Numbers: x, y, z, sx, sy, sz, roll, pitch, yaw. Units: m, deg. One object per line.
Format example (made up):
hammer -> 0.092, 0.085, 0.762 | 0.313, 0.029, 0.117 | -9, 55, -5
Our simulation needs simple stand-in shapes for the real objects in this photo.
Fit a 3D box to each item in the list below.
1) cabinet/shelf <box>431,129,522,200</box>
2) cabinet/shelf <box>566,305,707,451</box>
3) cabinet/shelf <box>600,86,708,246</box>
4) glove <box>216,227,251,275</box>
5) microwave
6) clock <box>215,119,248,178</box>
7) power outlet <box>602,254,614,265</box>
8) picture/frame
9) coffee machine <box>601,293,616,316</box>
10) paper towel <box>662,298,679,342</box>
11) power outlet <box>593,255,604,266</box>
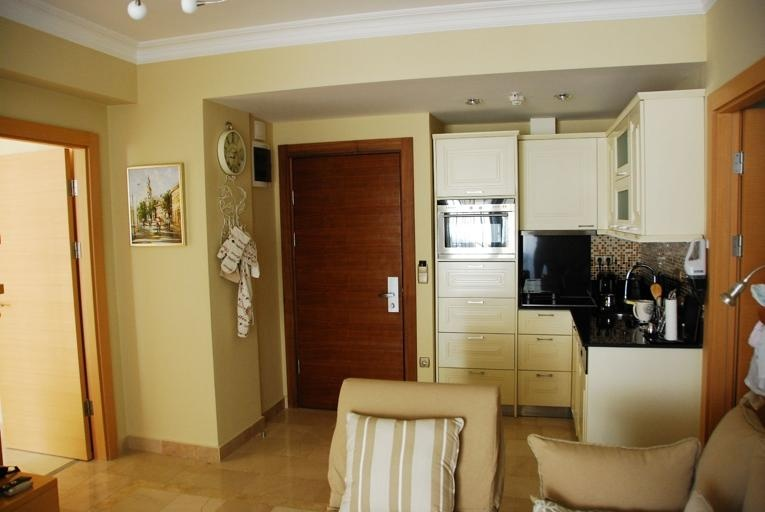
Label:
cabinet/shelf -> 0.949, -0.864, 5.541 | 0.994, 0.797, 0.587 | 0, 0, 10
cabinet/shelf -> 2.062, 0.691, 4.548 | 0.773, 1.003, 1.471 | 1, 1, 15
cabinet/shelf -> 2.143, -0.721, 4.322 | 0.475, 1.086, 1.291 | 0, 2, 16
glove -> -1.306, -0.045, 4.856 | 0.240, 0.396, 0.078 | 28, -15, -29
microwave -> 0.949, -0.229, 5.625 | 0.836, 0.633, 0.527 | 0, -2, 9
clock -> -1.374, -0.961, 4.988 | 0.100, 0.478, 0.335 | 3, 13, 15
power outlet -> 2.331, 0.039, 5.752 | 0.100, 0.100, 0.016 | 0, 13, 4
picture/frame -> -1.946, -0.466, 4.805 | 0.705, 0.946, 0.067 | 1, 10, 14
coffee machine -> 2.075, 0.433, 5.081 | 0.155, 0.226, 0.160 | 1, -5, 8
paper towel -> 2.236, 0.491, 4.284 | 0.118, 0.311, 0.122 | 2, 8, 41
power outlet -> 2.234, 0.047, 5.762 | 0.100, 0.117, 0.017 | 1, 13, 8
